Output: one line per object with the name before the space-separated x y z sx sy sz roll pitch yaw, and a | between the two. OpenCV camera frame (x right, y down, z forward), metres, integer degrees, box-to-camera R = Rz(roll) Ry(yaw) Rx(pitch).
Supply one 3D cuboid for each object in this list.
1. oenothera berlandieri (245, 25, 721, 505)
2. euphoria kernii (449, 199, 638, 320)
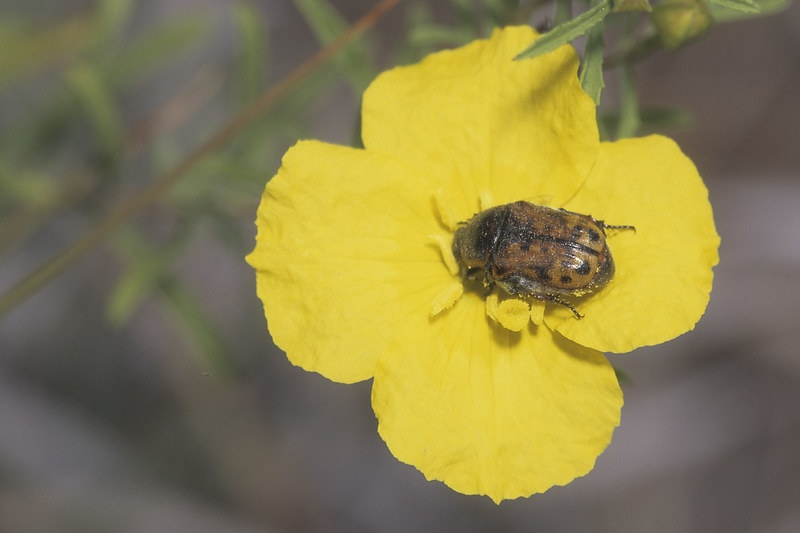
oenothera berlandieri | 0.263 -0.017 2.949 1.212 0.972 1.193 33 59 28
euphoria kernii | 0.400 -0.026 2.932 0.520 0.288 0.223 17 52 18
